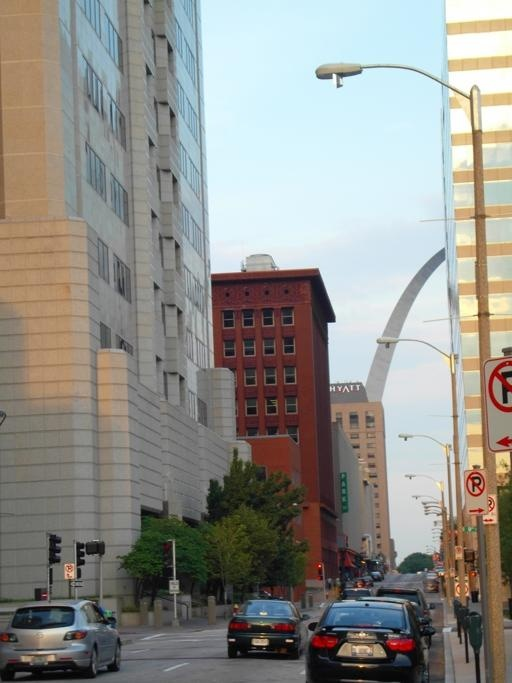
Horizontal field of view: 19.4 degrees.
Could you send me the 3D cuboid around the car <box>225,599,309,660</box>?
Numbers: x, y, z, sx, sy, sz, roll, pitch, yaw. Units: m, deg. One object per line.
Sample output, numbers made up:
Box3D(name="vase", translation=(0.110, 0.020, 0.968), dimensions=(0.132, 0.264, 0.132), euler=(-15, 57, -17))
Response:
Box3D(name="car", translation=(0.229, 7.001, 36.754), dimensions=(1.712, 1.570, 1.992), euler=(-7, -17, 13))
